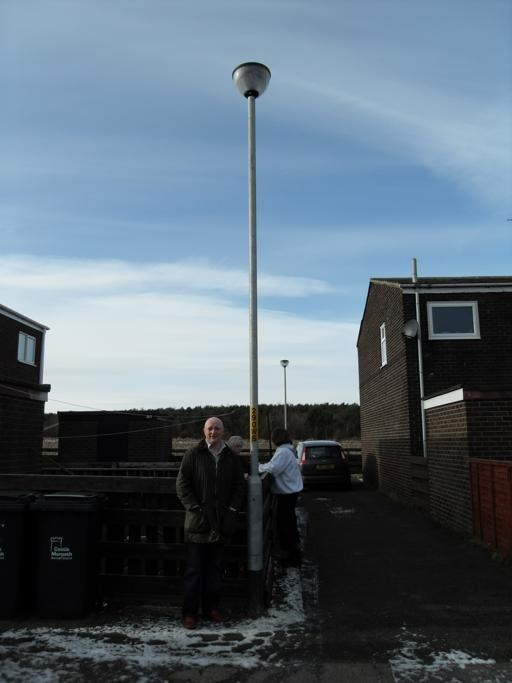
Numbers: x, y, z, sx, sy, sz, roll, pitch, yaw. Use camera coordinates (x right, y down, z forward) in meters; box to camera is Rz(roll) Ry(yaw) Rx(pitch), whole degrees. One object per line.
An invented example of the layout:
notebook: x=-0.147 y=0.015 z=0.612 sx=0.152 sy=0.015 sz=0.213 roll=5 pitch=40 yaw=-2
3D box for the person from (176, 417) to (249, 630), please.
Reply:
person: x=-0.349 y=1.383 z=4.877 sx=0.564 sy=1.558 sz=0.422 roll=1 pitch=-11 yaw=-19

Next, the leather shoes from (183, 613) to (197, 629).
leather shoes: x=-0.488 y=2.073 z=4.519 sx=0.102 sy=0.087 sz=0.136 roll=-2 pitch=-11 yaw=-5
